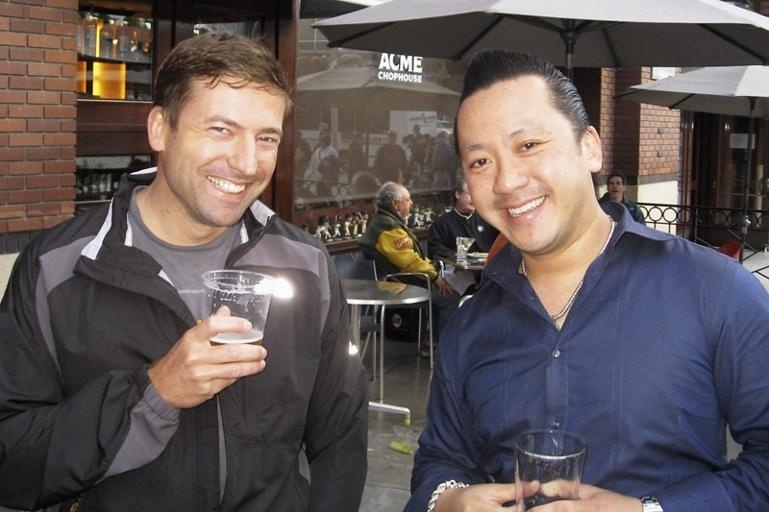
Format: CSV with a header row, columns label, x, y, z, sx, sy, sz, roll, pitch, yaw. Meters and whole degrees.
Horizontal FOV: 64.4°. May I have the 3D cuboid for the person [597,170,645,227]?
label,x,y,z,sx,sy,sz,roll,pitch,yaw
person,3.750,-0.869,9.895,1.005,0.850,0.548,5,-2,16

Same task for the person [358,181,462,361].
label,x,y,z,sx,sy,sz,roll,pitch,yaw
person,0.327,0.175,8.013,1.342,2.177,1.131,3,1,-15

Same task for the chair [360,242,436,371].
label,x,y,z,sx,sy,sz,roll,pitch,yaw
chair,0.060,0.678,7.321,0.856,1.214,0.788,14,2,18

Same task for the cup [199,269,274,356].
label,x,y,z,sx,sy,sz,roll,pitch,yaw
cup,-0.458,0.169,1.963,0.241,0.244,0.236,3,2,0

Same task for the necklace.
label,x,y,z,sx,sy,sz,roll,pitch,yaw
necklace,0.582,0.063,2.013,0.263,0.365,0.089,-7,-24,33
